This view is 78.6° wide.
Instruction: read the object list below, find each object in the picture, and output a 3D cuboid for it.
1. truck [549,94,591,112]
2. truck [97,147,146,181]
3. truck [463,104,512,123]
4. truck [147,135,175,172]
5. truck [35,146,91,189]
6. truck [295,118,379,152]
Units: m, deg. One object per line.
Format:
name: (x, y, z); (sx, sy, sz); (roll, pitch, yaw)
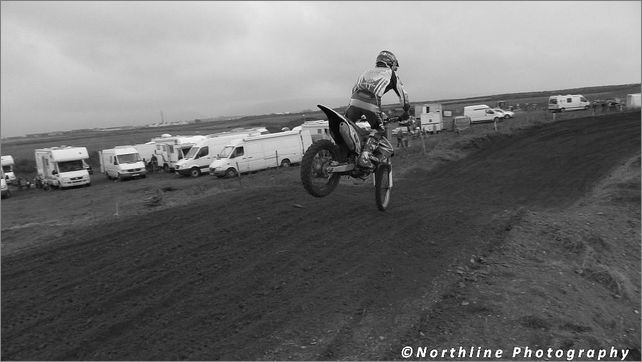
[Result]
truck: (33.706, -10.657, 53.295); (5.779, 2.210, 3.509); (-10, 9, -23)
truck: (-17.487, -1.661, 34.137); (2.563, 2.008, 4.935); (-8, 10, -39)
truck: (20.977, -8.635, 50.218); (4.637, 2.218, 1.860); (-5, 9, 10)
truck: (-15.135, -2.531, 36.898); (1.700, 2.896, 3.602); (3, 13, -4)
truck: (-21.060, -1.155, 31.682); (2.969, 2.656, 5.505); (-7, 10, -38)
truck: (0.872, -4.458, 35.129); (5.645, 2.653, 3.184); (-4, 16, -2)
